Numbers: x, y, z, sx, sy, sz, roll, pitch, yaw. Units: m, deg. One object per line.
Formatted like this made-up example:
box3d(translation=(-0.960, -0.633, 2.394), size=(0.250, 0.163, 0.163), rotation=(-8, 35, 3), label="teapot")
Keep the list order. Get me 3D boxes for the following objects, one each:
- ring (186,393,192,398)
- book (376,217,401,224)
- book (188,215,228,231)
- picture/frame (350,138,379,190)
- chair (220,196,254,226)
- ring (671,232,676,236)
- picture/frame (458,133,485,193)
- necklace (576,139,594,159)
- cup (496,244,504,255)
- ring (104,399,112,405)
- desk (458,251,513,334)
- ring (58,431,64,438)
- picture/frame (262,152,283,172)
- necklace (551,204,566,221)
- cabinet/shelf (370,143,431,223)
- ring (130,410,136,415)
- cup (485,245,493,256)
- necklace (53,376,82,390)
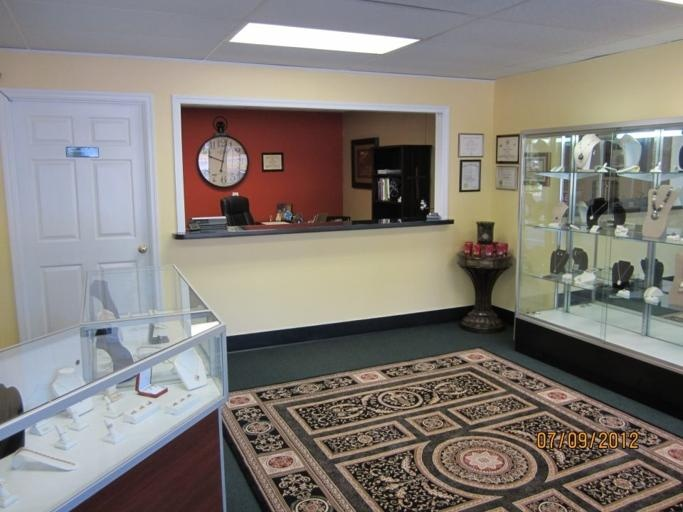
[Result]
box3d(translation=(-0.731, 0.665, 2.265), size=(0.017, 0.015, 0.033), rotation=(-5, 12, -15), label="ring")
box3d(translation=(0.590, -0.433, 5.749), size=(0.310, 0.021, 0.451), rotation=(0, 12, 6), label="book")
box3d(translation=(-1.413, -0.345, 4.979), size=(0.374, 0.137, 0.180), rotation=(-4, 12, -12), label="book")
box3d(translation=(0.445, -1.712, 8.697), size=(0.074, 0.908, 0.966), rotation=(4, 13, 33), label="picture/frame")
box3d(translation=(-1.571, -0.690, 7.103), size=(0.252, 0.437, 0.586), rotation=(7, 14, 33), label="chair")
box3d(translation=(2.676, -0.177, 3.765), size=(0.004, 0.020, 0.039), rotation=(-11, 15, -36), label="ring")
box3d(translation=(1.644, -1.176, 5.916), size=(0.386, 0.702, 0.090), rotation=(-8, 14, -27), label="picture/frame")
box3d(translation=(2.244, -0.982, 4.302), size=(0.100, 0.163, 0.170), rotation=(-6, 15, -1), label="necklace")
box3d(translation=(1.930, -0.086, 5.648), size=(0.115, 0.126, 0.074), rotation=(3, 13, 17), label="cup")
box3d(translation=(-1.007, 0.627, 2.031), size=(0.018, 0.022, 0.010), rotation=(9, -14, -10), label="ring")
box3d(translation=(1.670, 0.429, 5.992), size=(0.870, 1.153, 0.851), rotation=(0, 5, 1), label="desk")
box3d(translation=(-1.131, 0.712, 1.900), size=(0.023, 0.023, 0.014), rotation=(-9, 15, -33), label="ring")
box3d(translation=(-1.309, -1.785, 8.817), size=(0.382, 0.321, 0.028), rotation=(-3, 8, -19), label="picture/frame")
box3d(translation=(2.132, -0.429, 4.588), size=(0.035, 0.146, 0.108), rotation=(-1, 17, -31), label="necklace")
box3d(translation=(0.934, -1.097, 7.140), size=(0.491, 1.141, 1.313), rotation=(-9, 14, -30), label="cabinet/shelf")
box3d(translation=(-0.919, 0.689, 2.079), size=(0.020, 0.013, 0.025), rotation=(5, 14, 28), label="ring")
box3d(translation=(1.795, -0.081, 5.663), size=(0.095, 0.120, 0.119), rotation=(3, 13, 17), label="cup")
box3d(translation=(-1.065, 0.487, 1.833), size=(0.117, 0.023, 0.080), rotation=(8, 15, 37), label="necklace")
